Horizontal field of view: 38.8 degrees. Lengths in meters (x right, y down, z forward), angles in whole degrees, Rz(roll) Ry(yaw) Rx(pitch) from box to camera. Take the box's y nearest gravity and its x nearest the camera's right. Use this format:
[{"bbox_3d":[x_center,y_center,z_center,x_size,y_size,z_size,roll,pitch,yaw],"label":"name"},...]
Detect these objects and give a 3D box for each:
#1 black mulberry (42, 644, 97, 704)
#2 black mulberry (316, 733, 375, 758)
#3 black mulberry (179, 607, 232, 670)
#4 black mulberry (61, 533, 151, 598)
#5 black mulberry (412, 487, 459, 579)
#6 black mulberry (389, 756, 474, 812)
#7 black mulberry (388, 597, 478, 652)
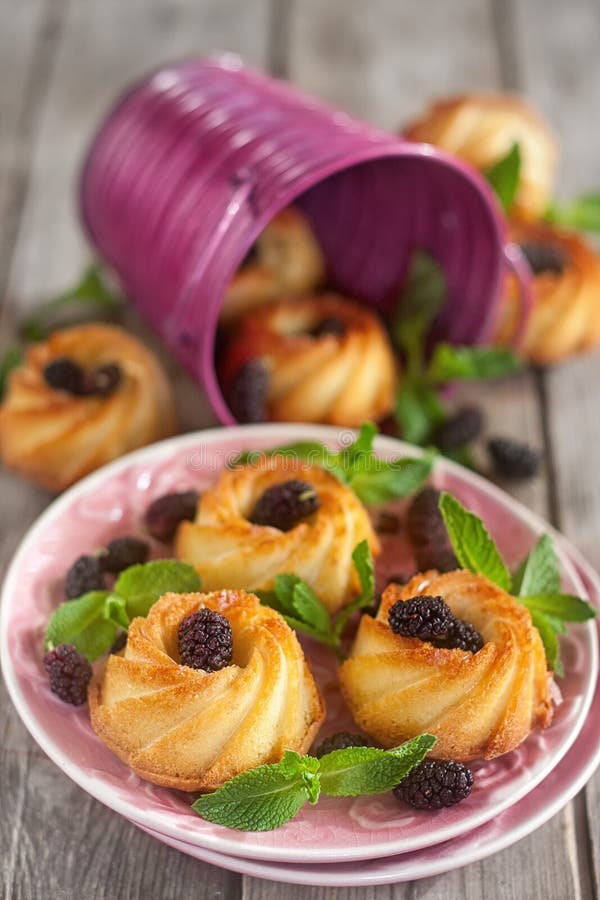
[{"bbox_3d":[-0.210,0.201,0.767,0.039,0.025,0.051,0,43,-48],"label":"black mulberry"},{"bbox_3d":[0.037,0.256,0.766,0.046,0.015,0.032,-4,7,-33],"label":"black mulberry"},{"bbox_3d":[-0.083,0.168,0.765,0.054,0.070,0.048,2,83,7],"label":"black mulberry"},{"bbox_3d":[-0.214,0.127,0.941,0.078,0.042,0.033,-39,25,-27],"label":"black mulberry"},{"bbox_3d":[0.151,0.099,0.994,0.031,0.044,0.089,14,51,-35],"label":"black mulberry"},{"bbox_3d":[0.107,0.277,0.703,0.059,0.024,0.032,-15,40,10],"label":"black mulberry"},{"bbox_3d":[0.127,0.165,0.807,0.072,0.032,0.048,13,3,-33],"label":"black mulberry"}]
